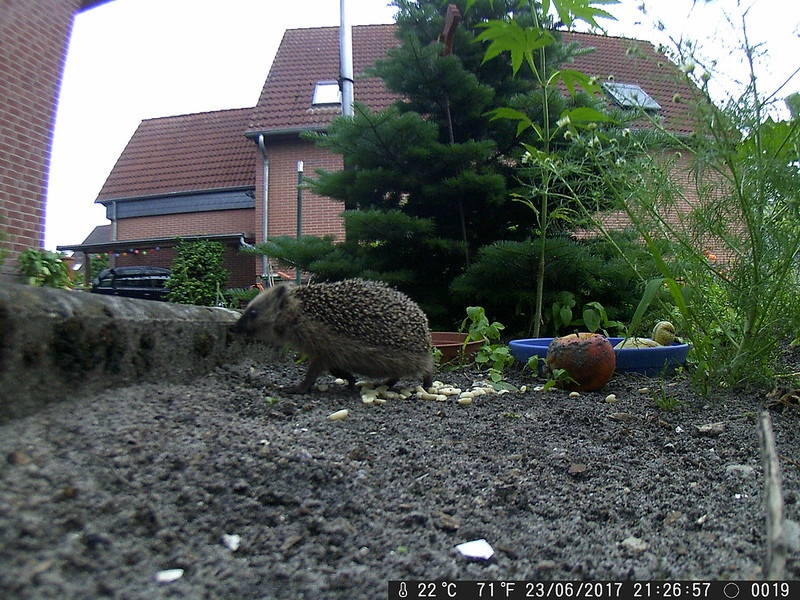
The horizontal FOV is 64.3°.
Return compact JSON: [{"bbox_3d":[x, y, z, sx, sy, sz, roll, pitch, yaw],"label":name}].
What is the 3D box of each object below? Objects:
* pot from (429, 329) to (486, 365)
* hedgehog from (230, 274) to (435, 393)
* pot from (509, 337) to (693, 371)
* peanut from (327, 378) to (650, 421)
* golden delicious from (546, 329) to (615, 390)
[{"bbox_3d":[0.501,0.431,5.806,0.449,0.297,0.581,3,-5,-4],"label":"pot"},{"bbox_3d":[-0.459,0.242,4.972,1.426,0.745,0.759,-2,1,7],"label":"hedgehog"},{"bbox_3d":[1.860,0.459,4.970,0.606,0.216,0.590,-1,-14,0],"label":"pot"},{"bbox_3d":[0.331,0.672,4.594,0.719,0.161,0.733,6,-11,-40],"label":"peanut"},{"bbox_3d":[1.317,0.465,4.677,0.514,0.476,0.484,-8,2,0],"label":"golden delicious"}]
